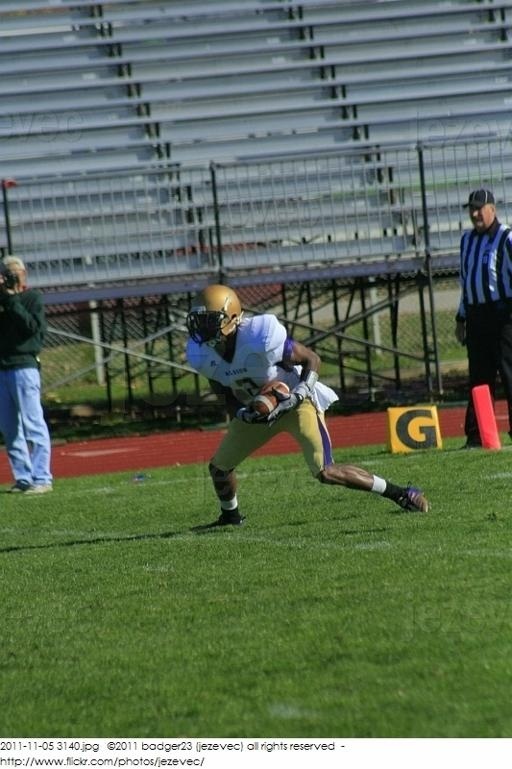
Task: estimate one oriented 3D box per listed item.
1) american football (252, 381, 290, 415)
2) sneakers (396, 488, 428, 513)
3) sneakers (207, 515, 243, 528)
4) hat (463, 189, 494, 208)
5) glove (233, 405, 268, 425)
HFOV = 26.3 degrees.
[{"bbox_3d":[0.046,0.048,3.857,0.137,0.088,0.066,-48,14,-23],"label":"american football"},{"bbox_3d":[0.576,0.428,4.056,0.073,0.052,0.157,6,7,-17],"label":"sneakers"},{"bbox_3d":[-0.117,0.522,4.230,0.140,0.054,0.048,1,-9,5],"label":"sneakers"},{"bbox_3d":[1.135,-0.949,5.557,0.149,0.076,0.100,-1,6,-38],"label":"hat"},{"bbox_3d":[-0.022,0.103,3.843,0.085,0.030,0.061,4,-11,33],"label":"glove"}]
